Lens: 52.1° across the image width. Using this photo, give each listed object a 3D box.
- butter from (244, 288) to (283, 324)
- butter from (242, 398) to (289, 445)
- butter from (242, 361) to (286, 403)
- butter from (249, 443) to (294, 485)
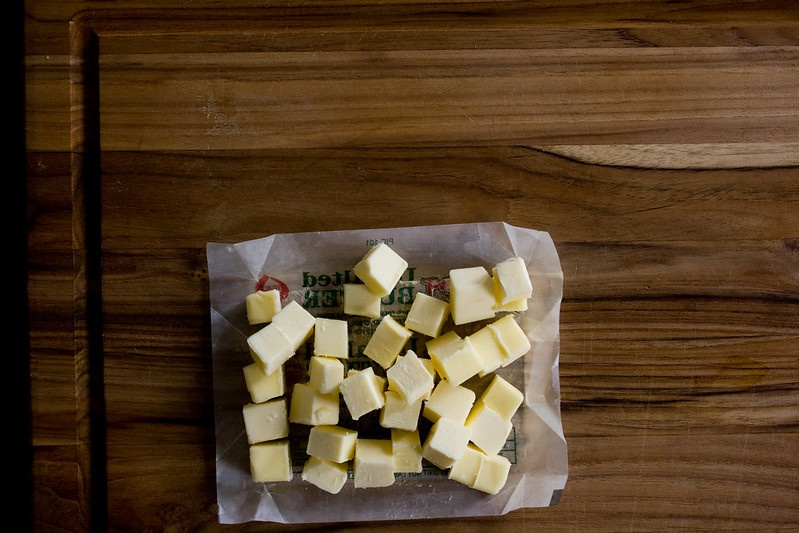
[{"bbox_3d":[-0.344,0.100,2.146,0.107,0.094,0.073,-20,89,15],"label":"butter"},{"bbox_3d":[-0.335,0.390,2.086,0.156,0.038,0.099,-7,95,-11],"label":"butter"},{"bbox_3d":[-0.344,0.297,2.138,0.127,0.103,0.091,-4,105,-3],"label":"butter"},{"bbox_3d":[-0.326,0.499,2.079,0.132,0.081,0.088,-4,91,-5],"label":"butter"}]
